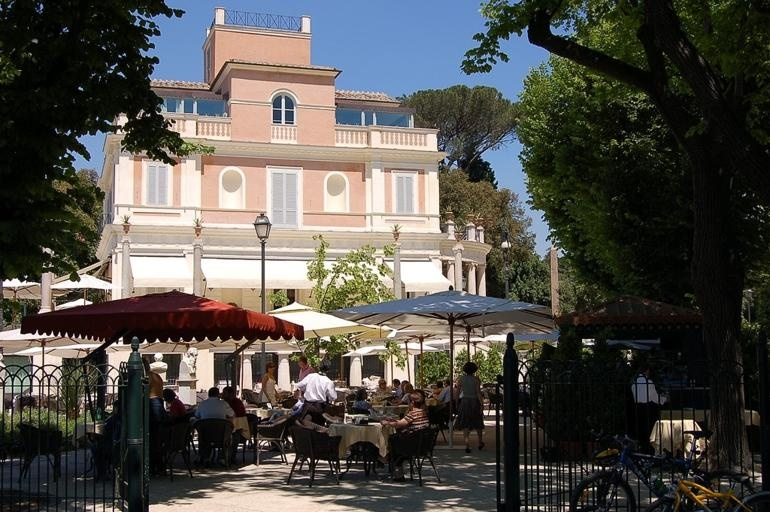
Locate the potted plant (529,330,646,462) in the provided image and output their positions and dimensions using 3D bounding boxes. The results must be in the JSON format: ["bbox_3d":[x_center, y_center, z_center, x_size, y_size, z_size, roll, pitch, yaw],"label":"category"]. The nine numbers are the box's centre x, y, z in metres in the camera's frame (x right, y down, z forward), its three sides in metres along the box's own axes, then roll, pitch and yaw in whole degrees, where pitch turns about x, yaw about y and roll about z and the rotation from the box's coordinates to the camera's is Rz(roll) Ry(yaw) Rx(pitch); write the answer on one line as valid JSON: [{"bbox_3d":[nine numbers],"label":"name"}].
[{"bbox_3d":[3.596,2.685,21.059,2.051,1.391,2.955,1,-22,-1],"label":"potted plant"}]

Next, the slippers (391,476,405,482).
[{"bbox_3d":[0.264,4.344,21.927,0.236,0.102,0.184,-1,-10,-1],"label":"slippers"}]

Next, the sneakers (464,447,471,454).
[{"bbox_3d":[1.874,4.376,25.305,0.116,0.230,0.121,0,-7,4],"label":"sneakers"}]
